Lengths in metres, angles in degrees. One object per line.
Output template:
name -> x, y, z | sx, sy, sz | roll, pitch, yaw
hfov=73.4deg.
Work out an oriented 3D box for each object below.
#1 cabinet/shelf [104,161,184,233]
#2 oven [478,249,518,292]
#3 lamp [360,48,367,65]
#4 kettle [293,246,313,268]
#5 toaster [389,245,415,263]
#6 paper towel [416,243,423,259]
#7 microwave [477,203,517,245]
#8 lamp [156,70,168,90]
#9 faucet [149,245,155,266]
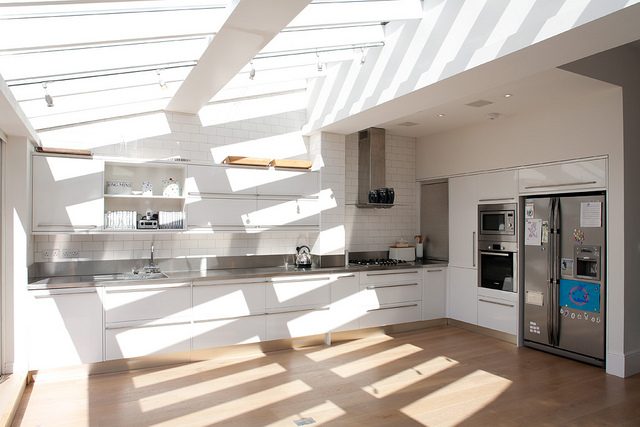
cabinet/shelf -> -2.532, -0.214, 6.049 | 1.086, 0.864, 0.344 | 2, -7, -27
oven -> 2.856, 0.886, 6.947 | 0.555, 0.760, 0.699 | 3, -2, -26
lamp -> 0.587, -2.125, 5.817 | 0.082, 0.180, 0.150 | 1, 6, 2
kettle -> -0.273, 0.710, 6.886 | 0.310, 0.302, 0.323 | 2, -9, -14
toaster -> 1.496, 0.738, 7.772 | 0.541, 0.313, 0.265 | 2, 2, -15
paper towel -> 1.840, 0.696, 7.960 | 0.108, 0.278, 0.083 | 1, 7, 8
microwave -> 2.822, 0.182, 6.898 | 0.563, 0.709, 0.794 | 6, -8, -28
lamp -> -1.901, -1.586, 5.140 | 0.112, 0.172, 0.045 | -7, -1, -42
faucet -> -2.411, 0.614, 6.125 | 0.068, 0.329, 0.189 | -2, 7, -22
